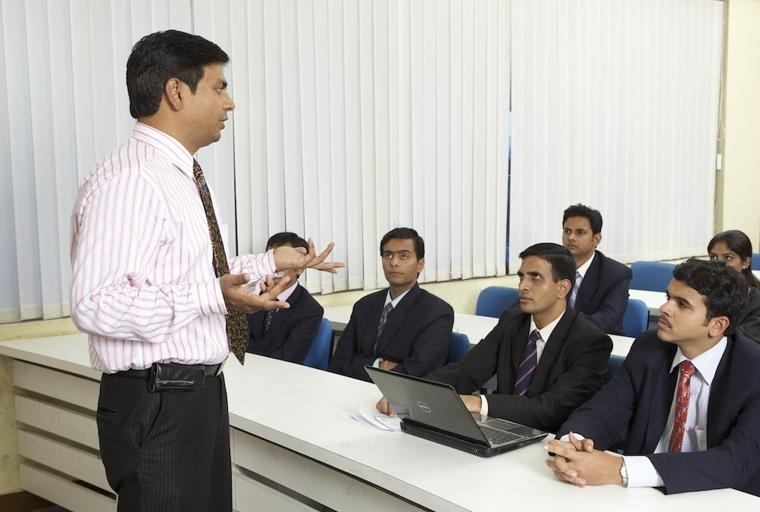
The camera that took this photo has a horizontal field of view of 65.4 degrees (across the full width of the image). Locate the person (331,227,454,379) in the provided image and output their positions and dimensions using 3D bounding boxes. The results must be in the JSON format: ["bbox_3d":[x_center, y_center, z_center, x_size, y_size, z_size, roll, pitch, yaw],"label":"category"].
[{"bbox_3d":[0.029,0.297,3.772,0.689,1.029,0.555,-7,-24,33],"label":"person"}]

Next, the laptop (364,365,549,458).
[{"bbox_3d":[0.295,0.544,2.174,0.532,0.290,0.573,-7,-1,-6],"label":"laptop"}]

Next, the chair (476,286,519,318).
[{"bbox_3d":[0.816,0.320,4.239,0.227,0.291,0.280,-7,10,-38],"label":"chair"}]

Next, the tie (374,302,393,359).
[{"bbox_3d":[0.051,0.429,3.614,0.078,0.373,0.097,12,-32,12],"label":"tie"}]

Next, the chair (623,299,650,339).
[{"bbox_3d":[1.687,0.415,3.921,0.174,0.226,0.159,20,2,-42],"label":"chair"}]

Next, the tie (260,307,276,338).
[{"bbox_3d":[-0.715,0.415,3.759,0.054,0.220,0.148,16,-16,-38],"label":"tie"}]

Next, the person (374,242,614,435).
[{"bbox_3d":[0.588,0.471,2.802,0.966,1.071,0.867,6,-4,11],"label":"person"}]

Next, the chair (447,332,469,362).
[{"bbox_3d":[0.429,0.512,3.289,0.100,0.130,0.105,20,-7,36],"label":"chair"}]

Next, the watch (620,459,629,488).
[{"bbox_3d":[0.763,0.690,1.850,0.018,0.054,0.039,2,-6,-5],"label":"watch"}]
